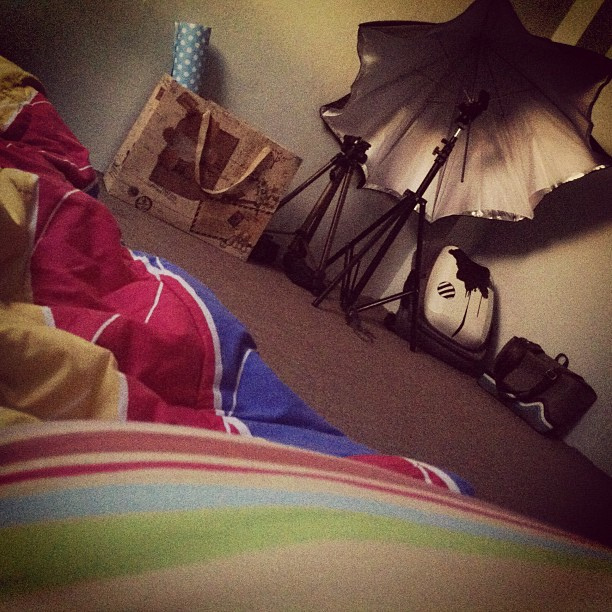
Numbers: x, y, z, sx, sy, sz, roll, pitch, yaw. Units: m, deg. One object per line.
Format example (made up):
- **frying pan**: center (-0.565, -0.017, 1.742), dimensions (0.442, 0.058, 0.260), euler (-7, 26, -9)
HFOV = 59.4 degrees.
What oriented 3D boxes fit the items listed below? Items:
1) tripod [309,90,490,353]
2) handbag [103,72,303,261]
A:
- **tripod**: center (0.409, -0.369, 2.197), dimensions (0.474, 0.998, 0.501), euler (31, -2, -6)
- **handbag**: center (-0.382, -0.550, 2.071), dimensions (0.609, 0.463, 0.409), euler (17, 26, -36)
